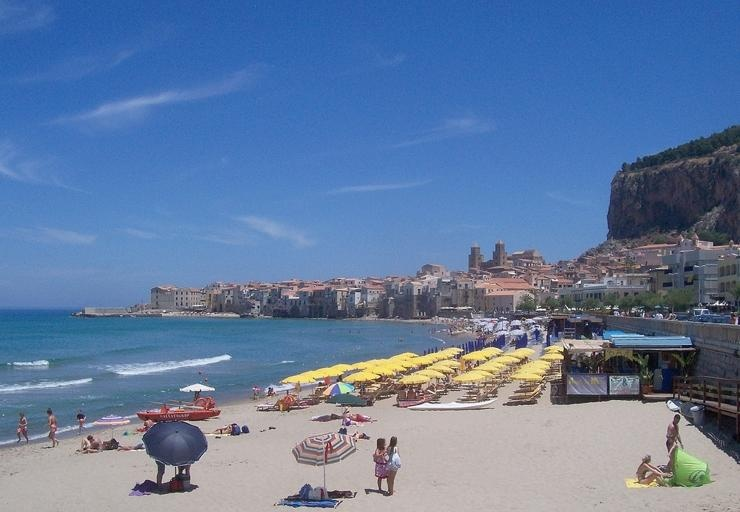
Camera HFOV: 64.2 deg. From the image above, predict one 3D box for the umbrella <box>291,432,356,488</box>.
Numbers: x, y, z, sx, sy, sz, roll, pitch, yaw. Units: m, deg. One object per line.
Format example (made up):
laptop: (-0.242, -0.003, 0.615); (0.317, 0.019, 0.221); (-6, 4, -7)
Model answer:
umbrella: (-1.444, 6.363, 19.415); (1.908, 0.791, 0.918); (1, -7, -17)

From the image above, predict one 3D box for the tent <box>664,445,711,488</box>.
tent: (10.202, 6.707, 18.846); (1.070, 1.020, 1.161); (-9, 0, -31)

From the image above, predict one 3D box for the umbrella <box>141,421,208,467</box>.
umbrella: (-6.571, 6.353, 20.275); (1.397, 1.712, 1.571); (0, -3, -2)

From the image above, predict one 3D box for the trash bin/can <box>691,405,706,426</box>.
trash bin/can: (12.894, 6.309, 23.258); (0.535, 0.741, 0.424); (-5, -8, 30)
